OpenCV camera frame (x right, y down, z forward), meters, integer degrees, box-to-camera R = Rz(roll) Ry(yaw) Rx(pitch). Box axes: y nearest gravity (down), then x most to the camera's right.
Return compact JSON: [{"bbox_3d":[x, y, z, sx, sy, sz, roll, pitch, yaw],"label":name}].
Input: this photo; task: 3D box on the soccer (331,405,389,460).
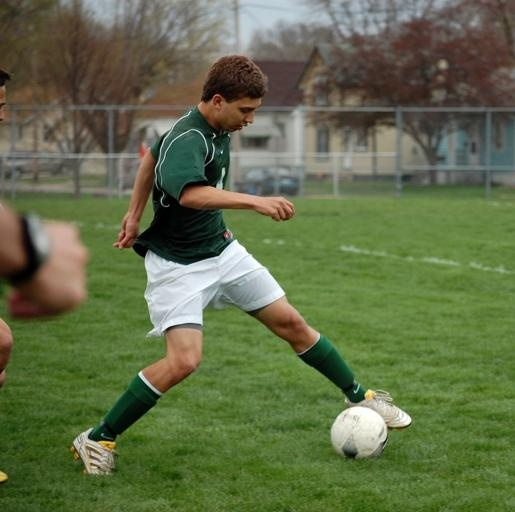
[{"bbox_3d":[0.501,0.885,4.918,0.284,0.241,0.249,1,-11,0],"label":"soccer"}]
